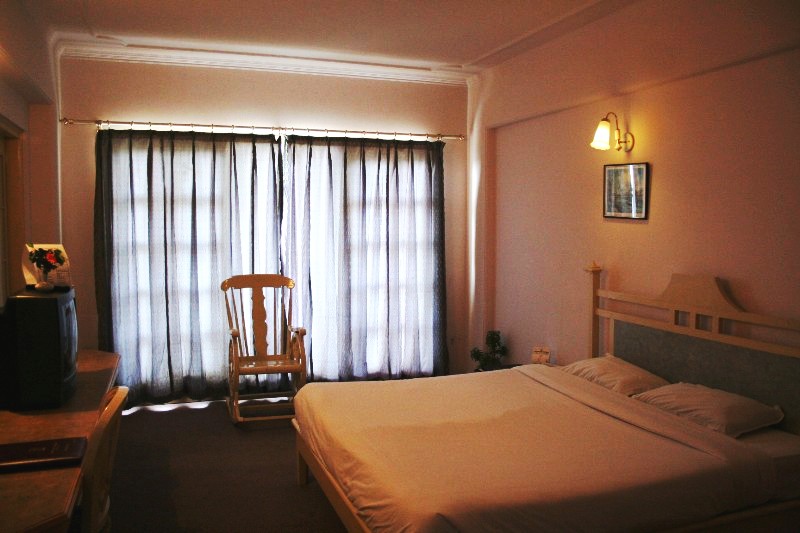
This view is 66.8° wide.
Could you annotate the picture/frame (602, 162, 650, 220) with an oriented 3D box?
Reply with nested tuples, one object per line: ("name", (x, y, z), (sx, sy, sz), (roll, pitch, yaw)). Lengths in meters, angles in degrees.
("picture/frame", (1.810, -0.606, 4.886), (0.394, 0.444, 0.016), (-2, 4, -10))

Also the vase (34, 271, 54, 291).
("vase", (-2.285, 0.096, 3.901), (0.097, 0.136, 0.093), (9, -1, 37))

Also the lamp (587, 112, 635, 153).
("lamp", (1.745, -1.093, 4.925), (0.325, 0.326, 0.285), (4, 15, 21))

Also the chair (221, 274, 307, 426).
("chair", (-1.256, 0.751, 5.730), (0.843, 1.324, 1.049), (-2, 2, -35))
